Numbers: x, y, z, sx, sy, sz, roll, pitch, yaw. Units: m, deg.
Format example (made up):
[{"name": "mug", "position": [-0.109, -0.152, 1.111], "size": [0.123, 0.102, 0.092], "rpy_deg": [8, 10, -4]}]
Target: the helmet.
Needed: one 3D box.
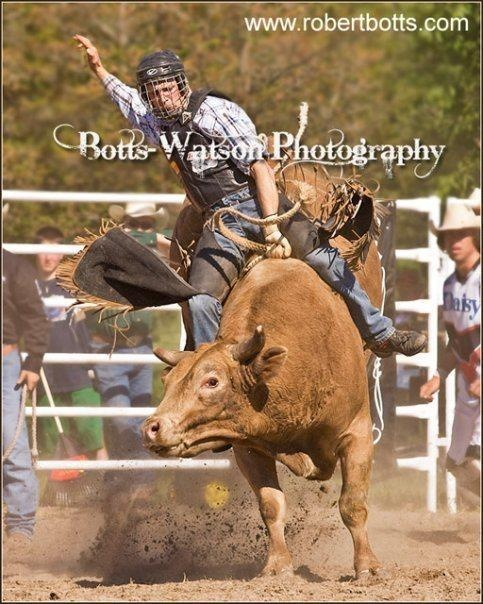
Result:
[{"name": "helmet", "position": [-0.468, -1.314, 6.537], "size": [0.323, 0.416, 0.214], "rpy_deg": [-2, -3, -5]}]

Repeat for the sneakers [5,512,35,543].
[{"name": "sneakers", "position": [-1.658, 1.665, 8.060], "size": [0.217, 0.208, 0.197], "rpy_deg": [-2, -3, -12]}]

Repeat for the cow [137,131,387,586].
[{"name": "cow", "position": [0.256, 0.370, 6.346], "size": [0.965, 2.570, 2.004], "rpy_deg": [-5, -3, 28]}]

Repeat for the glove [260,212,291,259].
[{"name": "glove", "position": [0.210, -0.396, 6.420], "size": [0.170, 0.111, 0.288], "rpy_deg": [-5, 42, -11]}]

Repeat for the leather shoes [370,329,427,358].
[{"name": "leather shoes", "position": [1.035, 0.234, 6.838], "size": [0.399, 0.177, 0.152], "rpy_deg": [-6, 60, 23]}]
